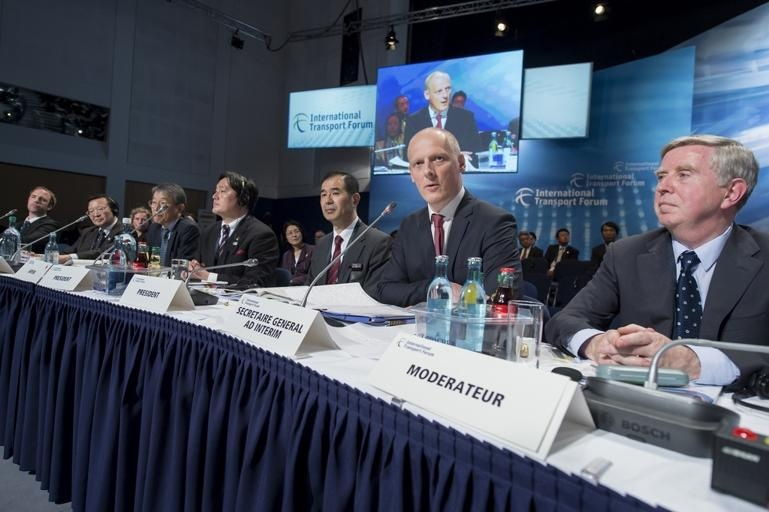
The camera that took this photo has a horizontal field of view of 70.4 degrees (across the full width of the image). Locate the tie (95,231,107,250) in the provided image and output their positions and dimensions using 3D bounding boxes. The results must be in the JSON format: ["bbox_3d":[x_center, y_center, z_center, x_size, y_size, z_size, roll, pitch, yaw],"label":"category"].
[{"bbox_3d":[-3.015,-0.166,5.807,0.124,0.217,0.065,-2,-22,34],"label":"tie"}]

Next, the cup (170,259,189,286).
[{"bbox_3d":[-0.994,0.078,2.656,0.083,0.111,0.299,0,4,-22],"label":"cup"}]

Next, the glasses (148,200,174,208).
[{"bbox_3d":[-2.028,-0.473,4.983,0.123,0.042,0.129,3,1,2],"label":"glasses"}]

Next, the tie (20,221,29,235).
[{"bbox_3d":[-3.739,-0.287,5.662,0.043,0.145,0.113,29,23,28],"label":"tie"}]

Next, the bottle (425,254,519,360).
[{"bbox_3d":[0.334,0.191,2.020,0.198,0.325,0.333,-2,6,-34],"label":"bottle"}]

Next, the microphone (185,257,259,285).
[{"bbox_3d":[-0.966,0.066,3.159,0.300,0.084,0.295,-2,2,10],"label":"microphone"}]
